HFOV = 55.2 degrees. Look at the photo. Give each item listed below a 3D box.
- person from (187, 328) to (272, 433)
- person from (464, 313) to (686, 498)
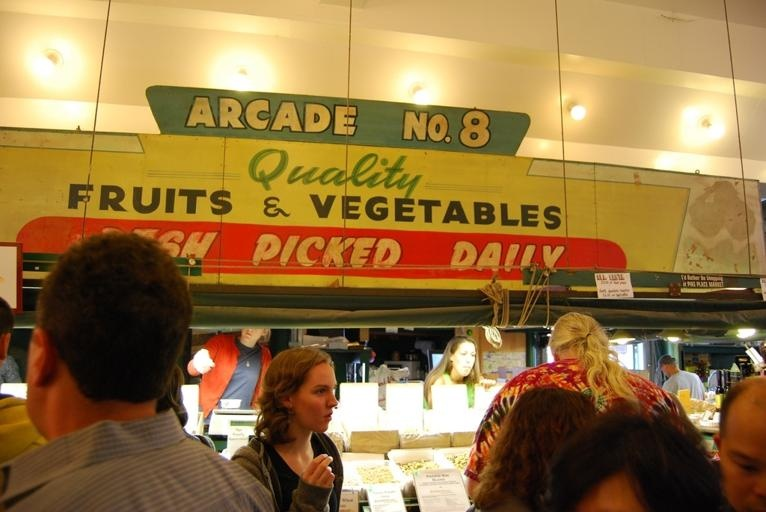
[{"bbox_3d":[-1.336,1.078,6.656,0.740,1.105,0.635,7,24,-21],"label":"person"},{"bbox_3d":[1.105,0.845,4.305,0.981,0.736,1.753,11,23,20],"label":"person"}]
